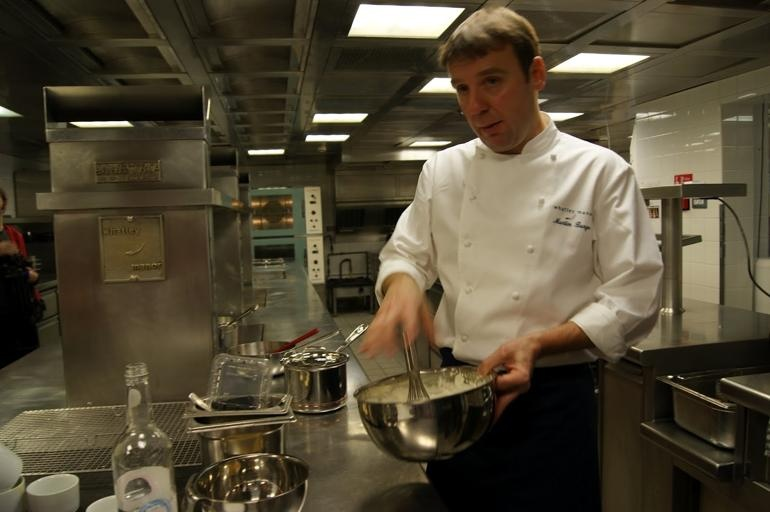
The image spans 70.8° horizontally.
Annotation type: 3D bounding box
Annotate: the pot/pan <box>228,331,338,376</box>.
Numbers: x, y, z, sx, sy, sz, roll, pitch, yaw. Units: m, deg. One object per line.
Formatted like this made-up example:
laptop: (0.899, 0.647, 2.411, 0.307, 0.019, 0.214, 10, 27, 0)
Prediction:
pot/pan: (-0.492, 0.437, 2.607, 0.449, 0.154, 0.227, -2, -1, -9)

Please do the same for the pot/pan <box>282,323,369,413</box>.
pot/pan: (-0.256, 0.496, 2.392, 0.217, 0.188, 0.507, -1, 1, 9)

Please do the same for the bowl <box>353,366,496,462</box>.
bowl: (0.128, 0.503, 1.732, 0.436, 0.272, 0.291, -1, 0, -3)

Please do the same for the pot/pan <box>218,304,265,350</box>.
pot/pan: (-0.835, 0.397, 2.979, 0.300, 0.287, 0.173, 0, 3, 5)
